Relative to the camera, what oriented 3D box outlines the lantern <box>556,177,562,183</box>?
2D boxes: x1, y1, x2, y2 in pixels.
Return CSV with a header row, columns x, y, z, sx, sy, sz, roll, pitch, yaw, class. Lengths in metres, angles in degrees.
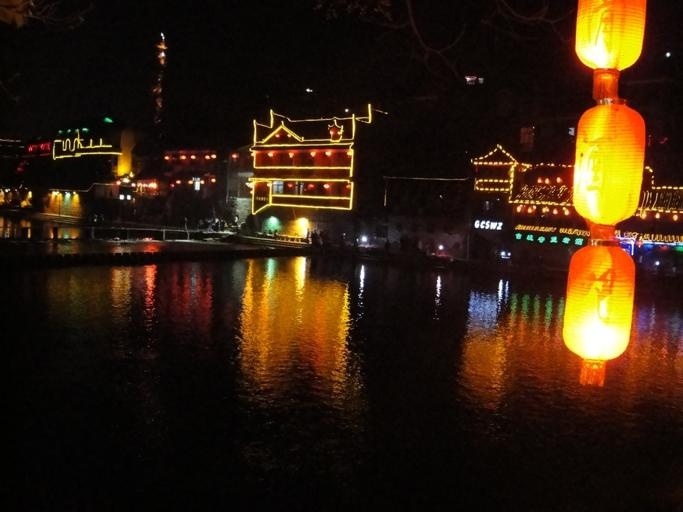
x,y,z,sx,sy,sz,roll,pitch,yaw,class
13.217,-4.575,39.217,0.371,0.323,0.136,9,12,36,lantern
